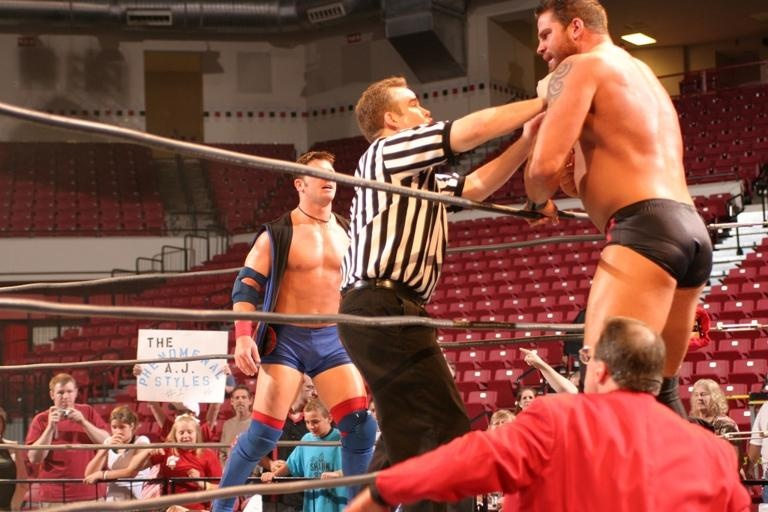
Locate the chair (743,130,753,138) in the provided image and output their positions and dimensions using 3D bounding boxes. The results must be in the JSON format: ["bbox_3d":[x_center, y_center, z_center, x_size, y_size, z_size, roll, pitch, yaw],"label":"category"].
[{"bbox_3d":[7.756,-2.577,26.936,0.205,0.121,0.185,-1,-2,4],"label":"chair"}]

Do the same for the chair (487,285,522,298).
[{"bbox_3d":[2.410,0.666,24.220,0.360,0.252,0.325,-1,-7,10],"label":"chair"}]

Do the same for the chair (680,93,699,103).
[{"bbox_3d":[7.133,-3.642,29.481,0.142,0.149,0.431,1,9,-41],"label":"chair"}]

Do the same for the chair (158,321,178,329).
[{"bbox_3d":[-4.327,1.416,25.456,0.257,0.153,0.230,0,-7,-1],"label":"chair"}]

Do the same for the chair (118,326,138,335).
[{"bbox_3d":[-5.124,1.520,25.500,0.457,0.157,0.320,0,-1,9],"label":"chair"}]

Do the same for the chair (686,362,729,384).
[{"bbox_3d":[5.453,1.952,21.039,0.461,0.365,0.424,-3,-12,28],"label":"chair"}]

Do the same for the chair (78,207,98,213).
[{"bbox_3d":[-6.621,-1.020,28.552,0.395,0.105,0.151,0,0,-10],"label":"chair"}]

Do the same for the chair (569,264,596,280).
[{"bbox_3d":[3.819,0.321,24.198,0.347,0.386,0.392,2,3,-24],"label":"chair"}]

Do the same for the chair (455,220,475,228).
[{"bbox_3d":[1.765,-0.664,27.657,0.230,0.102,0.262,-4,-13,23],"label":"chair"}]

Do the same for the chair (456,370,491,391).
[{"bbox_3d":[1.595,2.157,21.935,0.454,0.299,0.397,-3,-16,19],"label":"chair"}]

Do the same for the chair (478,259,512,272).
[{"bbox_3d":[2.345,0.196,25.575,0.327,0.343,0.330,-3,-8,39],"label":"chair"}]

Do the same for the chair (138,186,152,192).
[{"bbox_3d":[-5.487,-1.498,29.338,0.281,0.110,0.147,1,0,-17],"label":"chair"}]

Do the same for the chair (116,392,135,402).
[{"bbox_3d":[-4.771,2.644,23.556,0.261,0.272,0.230,0,-21,1],"label":"chair"}]

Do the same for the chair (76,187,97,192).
[{"bbox_3d":[-6.733,-1.480,28.968,0.434,0.138,0.208,0,0,-10],"label":"chair"}]

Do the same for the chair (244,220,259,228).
[{"bbox_3d":[-3.017,-0.717,29.323,0.202,0.119,0.177,0,-4,1],"label":"chair"}]

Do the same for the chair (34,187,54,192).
[{"bbox_3d":[-7.636,-1.473,28.657,0.381,0.148,0.178,0,0,-11],"label":"chair"}]

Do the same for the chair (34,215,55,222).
[{"bbox_3d":[-7.510,-0.836,28.121,0.258,0.154,0.231,1,-5,-1],"label":"chair"}]

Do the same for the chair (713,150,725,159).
[{"bbox_3d":[7.043,-2.104,26.564,0.184,0.116,0.185,-3,-3,42],"label":"chair"}]

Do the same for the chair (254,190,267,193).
[{"bbox_3d":[-2.877,-1.502,30.296,0.232,0.105,0.110,-1,29,-8],"label":"chair"}]

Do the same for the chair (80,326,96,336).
[{"bbox_3d":[-5.949,1.555,25.743,0.370,0.166,0.236,-4,-17,9],"label":"chair"}]

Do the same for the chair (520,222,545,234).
[{"bbox_3d":[3.105,-0.535,26.258,0.519,0.211,0.654,0,-6,-2],"label":"chair"}]

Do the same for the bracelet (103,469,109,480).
[{"bbox_3d":[-3.974,3.149,18.136,0.097,0.077,0.088,6,0,-21],"label":"bracelet"}]

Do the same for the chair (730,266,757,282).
[{"bbox_3d":[6.539,0.356,23.047,0.346,0.362,0.352,-3,-5,35],"label":"chair"}]

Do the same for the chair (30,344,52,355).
[{"bbox_3d":[-6.753,1.866,25.180,0.389,0.161,0.279,0,-1,-14],"label":"chair"}]

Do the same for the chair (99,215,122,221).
[{"bbox_3d":[-6.106,-0.842,28.512,0.461,0.120,0.162,0,0,-11],"label":"chair"}]

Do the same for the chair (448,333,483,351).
[{"bbox_3d":[1.356,1.420,20.663,0.545,0.219,0.681,-5,-10,24],"label":"chair"}]

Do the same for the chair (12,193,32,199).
[{"bbox_3d":[-8.089,-1.320,28.524,0.405,0.170,0.191,1,0,-14],"label":"chair"}]

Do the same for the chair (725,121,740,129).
[{"bbox_3d":[7.598,-2.815,27.561,0.283,0.136,0.146,0,0,12],"label":"chair"}]

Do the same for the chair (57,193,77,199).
[{"bbox_3d":[-7.133,-1.319,28.680,0.242,0.143,0.215,1,-3,4],"label":"chair"}]

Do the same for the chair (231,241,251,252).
[{"bbox_3d":[-3.194,-0.171,28.488,0.346,0.187,0.287,0,-6,0],"label":"chair"}]

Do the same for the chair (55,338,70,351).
[{"bbox_3d":[-6.401,1.802,25.327,0.268,0.203,0.236,0,-6,2],"label":"chair"}]

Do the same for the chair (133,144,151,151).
[{"bbox_3d":[-5.754,-2.552,30.373,0.375,0.153,0.518,0,-1,-4],"label":"chair"}]

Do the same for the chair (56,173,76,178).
[{"bbox_3d":[-7.264,-1.795,29.117,0.242,0.148,0.230,1,-2,-33],"label":"chair"}]

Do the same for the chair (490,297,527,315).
[{"bbox_3d":[2.432,0.931,23.706,0.387,0.313,0.348,-6,-16,30],"label":"chair"}]

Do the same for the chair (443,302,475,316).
[{"bbox_3d":[1.464,1.036,24.174,0.299,0.203,0.366,-1,-14,15],"label":"chair"}]

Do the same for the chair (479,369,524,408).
[{"bbox_3d":[2.054,2.259,21.787,0.612,0.686,0.659,-6,-14,28],"label":"chair"}]

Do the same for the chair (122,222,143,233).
[{"bbox_3d":[-5.565,-0.619,28.233,0.490,0.211,0.309,-1,-3,-4],"label":"chair"}]

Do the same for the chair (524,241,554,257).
[{"bbox_3d":[3.163,-0.091,25.618,0.523,0.223,0.629,-2,-9,4],"label":"chair"}]

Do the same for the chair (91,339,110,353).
[{"bbox_3d":[-5.632,1.809,25.218,0.295,0.304,0.281,-3,-15,16],"label":"chair"}]

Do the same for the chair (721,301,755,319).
[{"bbox_3d":[6.200,0.942,22.153,0.433,0.311,0.408,-2,-12,33],"label":"chair"}]

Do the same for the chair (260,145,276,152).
[{"bbox_3d":[-2.831,-2.668,31.481,0.304,0.157,0.160,0,0,-11],"label":"chair"}]

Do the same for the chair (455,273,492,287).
[{"bbox_3d":[1.784,0.470,25.153,0.481,0.253,0.350,-19,-5,33],"label":"chair"}]

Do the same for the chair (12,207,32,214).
[{"bbox_3d":[-8.020,-0.993,28.224,0.401,0.130,0.169,1,0,-14],"label":"chair"}]

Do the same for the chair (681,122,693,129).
[{"bbox_3d":[6.729,-2.867,28.152,0.219,0.175,0.214,0,5,35],"label":"chair"}]

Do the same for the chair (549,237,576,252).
[{"bbox_3d":[3.004,-0.165,21.188,0.210,0.220,0.212,-2,-11,12],"label":"chair"}]

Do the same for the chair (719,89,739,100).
[{"bbox_3d":[7.908,-3.676,28.994,0.451,0.271,0.340,0,-1,31],"label":"chair"}]

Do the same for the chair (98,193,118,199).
[{"bbox_3d":[-6.238,-1.353,28.969,0.402,0.152,0.173,0,0,-11],"label":"chair"}]

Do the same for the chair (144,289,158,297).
[{"bbox_3d":[-4.926,0.818,27.166,0.371,0.132,0.220,0,-1,15],"label":"chair"}]

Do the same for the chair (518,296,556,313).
[{"bbox_3d":[2.901,0.895,23.493,0.396,0.320,0.374,-3,-9,32],"label":"chair"}]

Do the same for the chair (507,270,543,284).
[{"bbox_3d":[2.817,0.408,24.625,0.432,0.168,0.319,-11,-1,36],"label":"chair"}]

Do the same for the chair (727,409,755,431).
[{"bbox_3d":[5.666,2.594,20.033,0.397,0.309,0.338,0,-15,4],"label":"chair"}]

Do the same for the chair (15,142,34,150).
[{"bbox_3d":[-8.332,-2.524,29.473,0.386,0.161,0.115,0,0,-6],"label":"chair"}]

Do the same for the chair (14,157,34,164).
[{"bbox_3d":[-8.301,-2.190,29.318,0.435,0.186,0.134,0,0,10],"label":"chair"}]

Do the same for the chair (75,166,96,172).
[{"bbox_3d":[-6.922,-2.005,29.547,0.457,0.158,0.179,1,0,-28],"label":"chair"}]
